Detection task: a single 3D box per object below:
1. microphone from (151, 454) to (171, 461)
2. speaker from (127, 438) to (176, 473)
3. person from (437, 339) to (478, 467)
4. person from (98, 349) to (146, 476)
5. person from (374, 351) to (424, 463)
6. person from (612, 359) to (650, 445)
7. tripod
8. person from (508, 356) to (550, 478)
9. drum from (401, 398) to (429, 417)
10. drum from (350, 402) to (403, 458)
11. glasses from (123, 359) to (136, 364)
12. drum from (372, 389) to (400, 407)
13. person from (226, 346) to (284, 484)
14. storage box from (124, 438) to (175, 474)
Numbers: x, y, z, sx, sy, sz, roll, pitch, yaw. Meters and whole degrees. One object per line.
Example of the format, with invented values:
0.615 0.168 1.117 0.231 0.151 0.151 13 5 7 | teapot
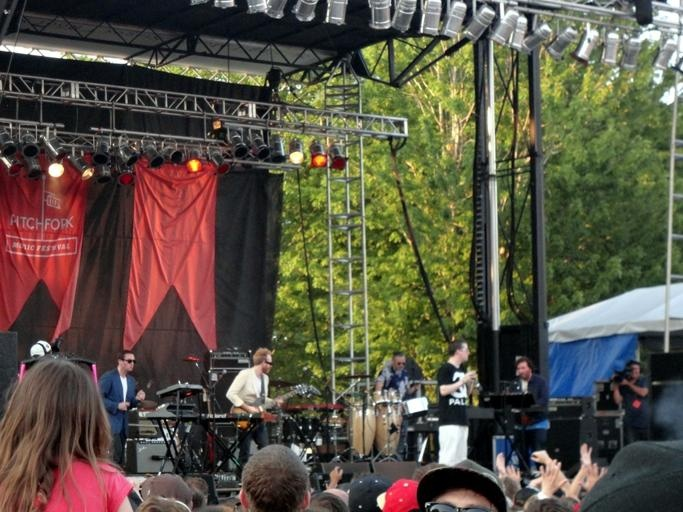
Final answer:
-2.991 3.340 30.848 0.324 0.071 0.223 1 -5 3 | microphone
-3.206 3.328 30.891 0.937 0.761 0.553 2 -11 -18 | speaker
1.884 2.472 29.293 0.658 2.275 0.772 5 8 37 | person
-3.647 2.739 30.907 0.788 2.245 0.800 5 3 25 | person
0.959 2.686 32.979 0.836 1.802 0.613 2 -16 -10 | person
4.967 2.463 31.574 0.636 1.756 0.683 -1 -1 -29 | person
0.510 2.926 31.781 1.071 0.878 0.930 1 -19 -5 | tripod
3.028 2.544 30.044 0.767 1.735 0.664 0 0 15 | person
1.255 2.488 30.897 0.394 0.315 0.808 1 -7 1 | drum
0.580 2.914 31.815 0.713 0.999 0.777 0 -1 0 | drum
-3.565 1.744 31.121 0.155 0.047 0.149 -10 -14 40 | glasses
0.780 2.402 31.794 0.297 0.120 0.292 2 -24 1 | drum
-1.496 2.730 31.060 0.999 2.321 0.711 2 -4 -41 | person
-3.185 3.307 30.827 0.961 0.765 0.549 2 -10 -18 | storage box
